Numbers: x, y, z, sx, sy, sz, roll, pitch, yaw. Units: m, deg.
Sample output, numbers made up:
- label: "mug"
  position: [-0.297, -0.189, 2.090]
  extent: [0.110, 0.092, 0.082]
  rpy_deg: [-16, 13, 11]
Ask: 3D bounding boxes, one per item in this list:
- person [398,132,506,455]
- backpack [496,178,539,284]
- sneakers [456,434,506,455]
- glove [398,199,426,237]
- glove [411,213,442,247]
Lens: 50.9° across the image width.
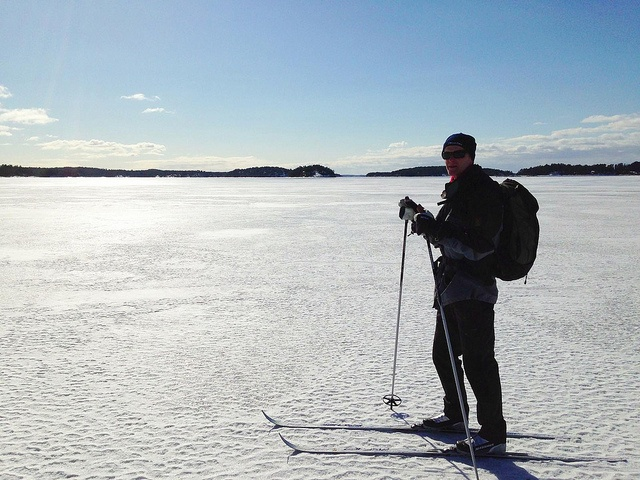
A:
- label: "person"
  position: [1.306, 0.477, 6.058]
  extent: [0.873, 2.838, 0.616]
  rpy_deg: [1, 11, 7]
- label: "backpack"
  position: [1.753, -0.063, 5.937]
  extent: [0.353, 0.906, 0.355]
  rpy_deg: [3, 11, 16]
- label: "sneakers"
  position: [1.462, 1.856, 6.071]
  extent: [0.488, 0.183, 0.171]
  rpy_deg: [3, -20, 11]
- label: "glove"
  position: [0.836, -0.220, 6.048]
  extent: [0.156, 0.423, 0.192]
  rpy_deg: [-24, 2, 5]
- label: "glove"
  position: [0.952, -0.082, 6.004]
  extent: [0.252, 0.309, 0.278]
  rpy_deg: [1, 11, 5]
